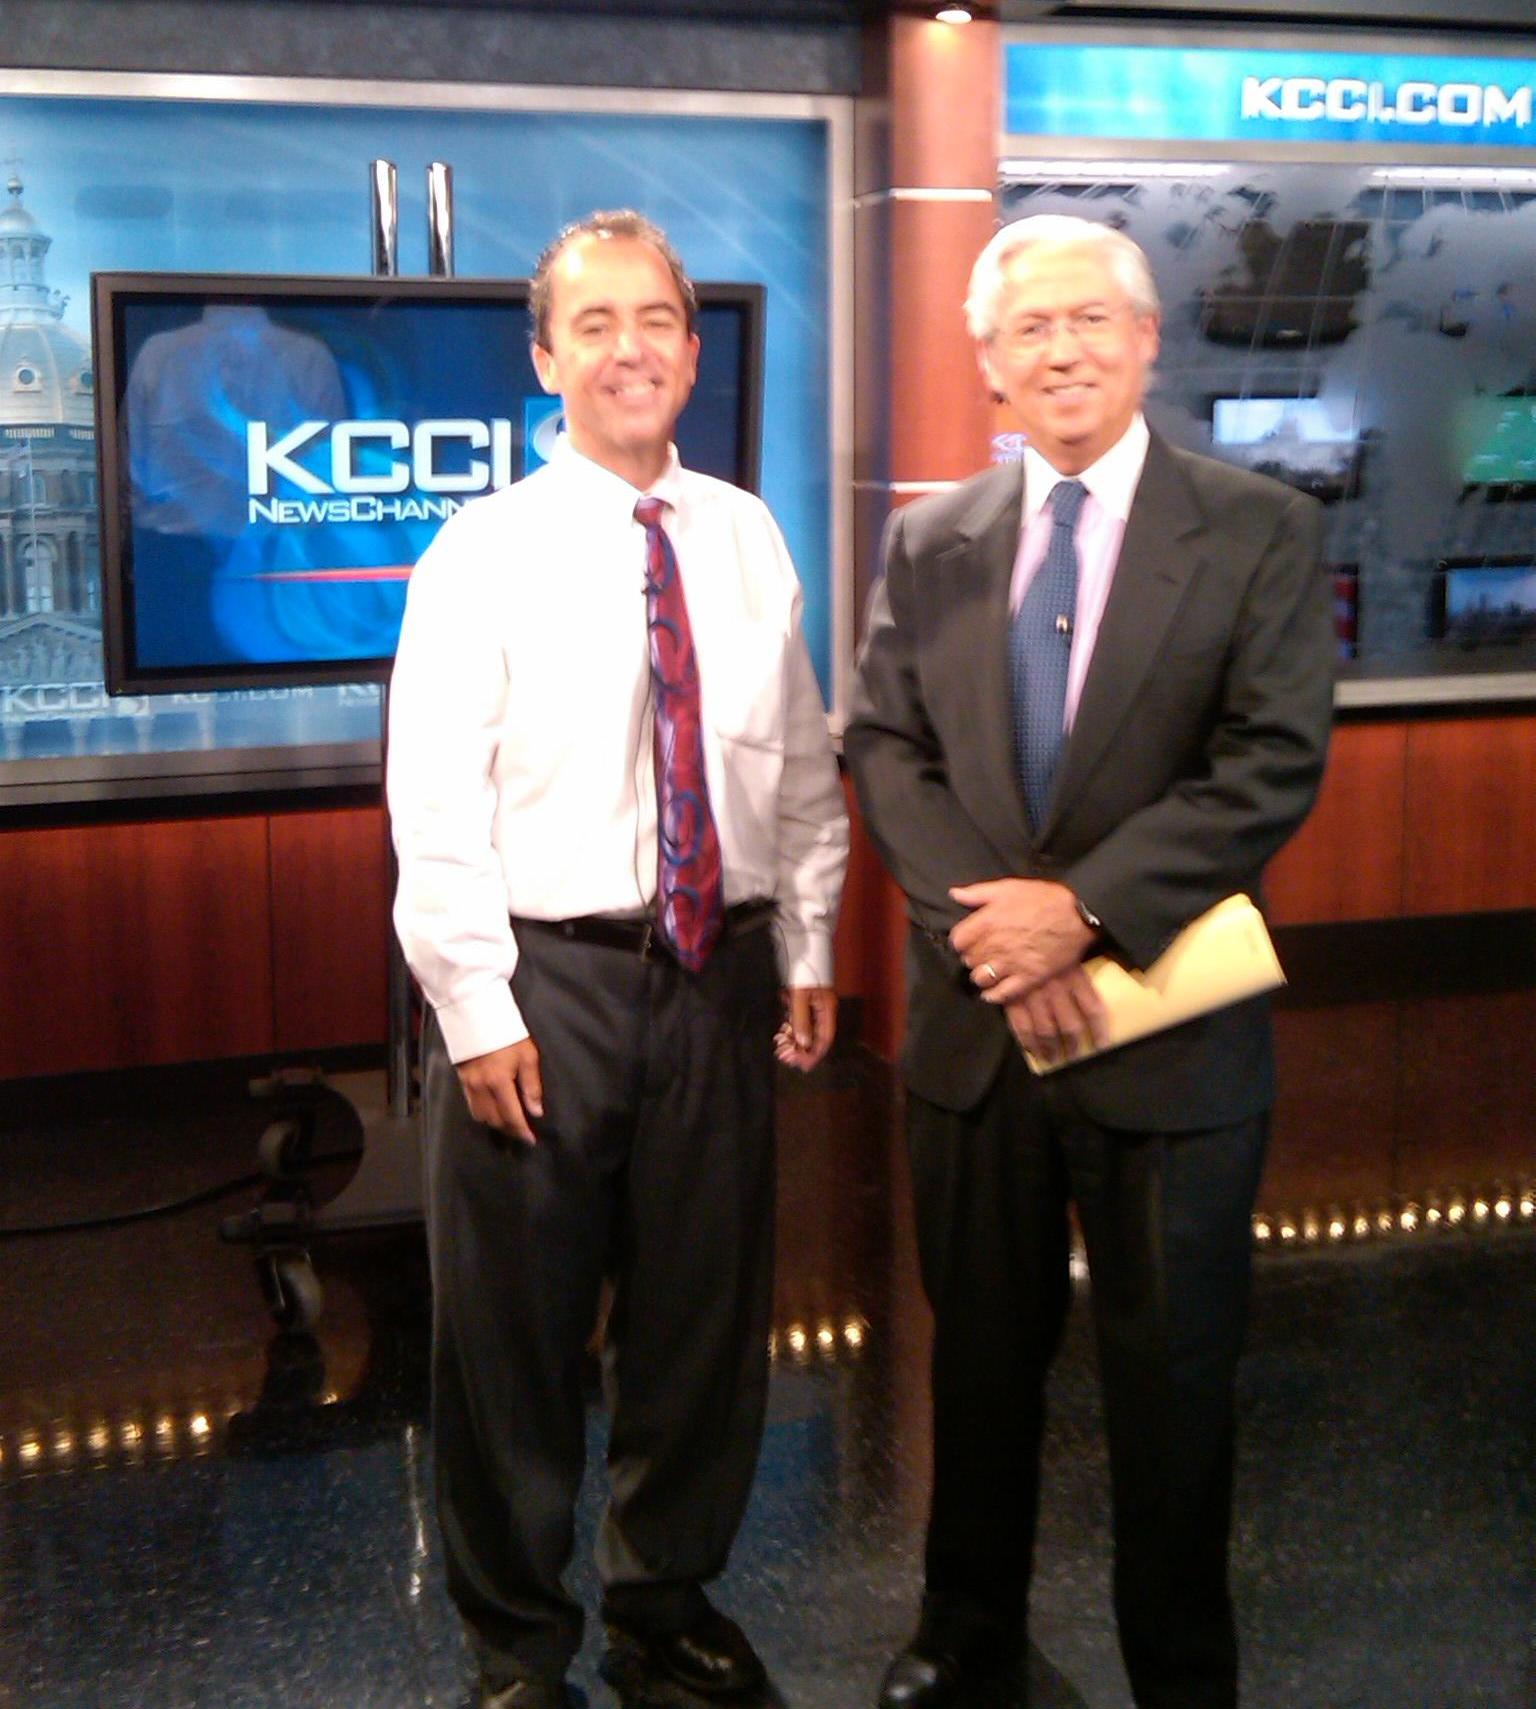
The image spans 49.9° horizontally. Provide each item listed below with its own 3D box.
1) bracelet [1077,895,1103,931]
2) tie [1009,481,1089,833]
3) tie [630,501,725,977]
[{"bbox_3d":[0.350,0.066,1.806,0.014,0.055,0.012,-24,21,-2],"label":"bracelet"},{"bbox_3d":[0.310,-0.228,1.887,0.080,0.388,0.127,2,15,18],"label":"tie"},{"bbox_3d":[-0.107,-0.150,1.994,0.080,0.549,0.201,-3,14,-4],"label":"tie"}]
